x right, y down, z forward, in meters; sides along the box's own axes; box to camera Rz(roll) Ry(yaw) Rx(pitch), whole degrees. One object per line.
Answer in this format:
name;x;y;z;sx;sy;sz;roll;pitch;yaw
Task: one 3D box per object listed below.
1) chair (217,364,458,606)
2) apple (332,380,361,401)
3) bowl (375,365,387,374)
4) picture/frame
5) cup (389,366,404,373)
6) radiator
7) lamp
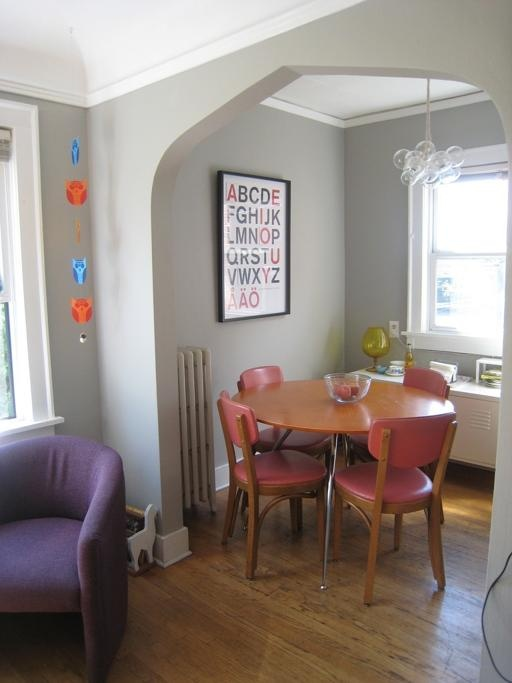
chair;0.386;0.506;2.544;0.876;0.743;0.821;-4;7;-38
apple;0.422;0.228;2.462;0.095;0.063;0.075;4;5;43
bowl;0.930;0.203;3.889;0.058;0.048;0.057;0;9;0
picture/frame;-0.038;-0.616;3.340;0.039;1.200;0.817;9;14;38
cup;1.015;0.208;3.826;0.071;0.040;0.059;-2;8;-10
radiator;-0.304;0.445;2.855;0.232;0.824;0.190;-4;-5;10
lamp;0.912;-1.127;2.796;0.323;0.781;0.339;4;-14;-3
